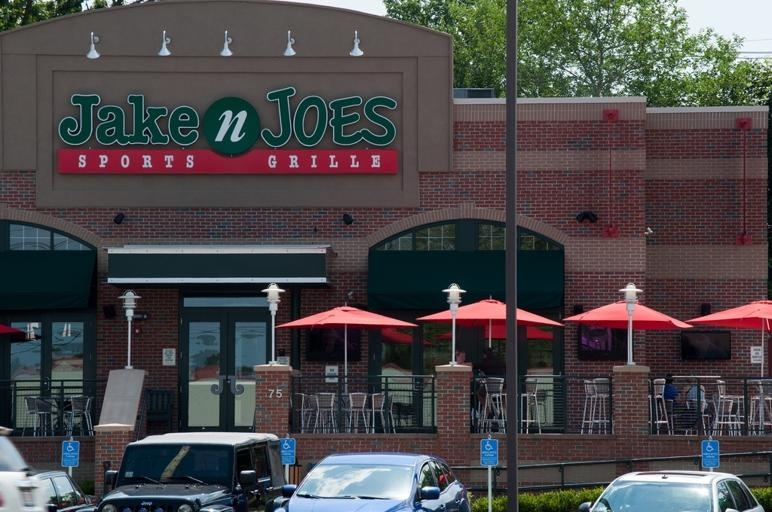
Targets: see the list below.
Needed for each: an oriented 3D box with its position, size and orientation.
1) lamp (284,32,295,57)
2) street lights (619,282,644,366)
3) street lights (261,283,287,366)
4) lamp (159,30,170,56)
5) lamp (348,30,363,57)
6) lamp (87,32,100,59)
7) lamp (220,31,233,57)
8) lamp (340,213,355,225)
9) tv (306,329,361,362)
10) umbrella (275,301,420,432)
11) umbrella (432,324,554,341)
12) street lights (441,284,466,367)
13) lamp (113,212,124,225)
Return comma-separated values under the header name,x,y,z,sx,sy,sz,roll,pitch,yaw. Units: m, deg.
name,x,y,z,sx,sy,sz,roll,pitch,yaw
lamp,-3.325,-7.321,74.335,0.391,0.863,0.139,-1,-13,-3
street lights,7.867,2.218,69.871,0.866,2.643,0.910,-1,-6,6
street lights,-3.825,2.206,70.654,0.868,2.565,0.842,-7,-20,6
lamp,-7.609,-7.324,74.297,0.390,0.846,0.133,0,-13,-8
lamp,-1.039,-7.305,74.315,0.762,1.007,0.707,0,1,-2
lamp,-10.057,-7.253,74.316,0.415,0.949,0.132,-1,-13,-4
lamp,-5.493,-7.329,74.325,0.436,0.886,0.172,0,-13,-9
lamp,-1.311,-1.268,74.132,0.416,0.413,0.285,-2,-13,-1
tv,-1.891,3.101,73.787,1.309,0.809,0.164,0,-8,0
umbrella,-1.088,2.174,71.335,3.389,3.408,3.138,-6,-4,16
umbrella,4.326,2.511,73.915,2.143,0.777,1.893,2,-5,45
street lights,2.197,2.247,70.267,0.898,2.425,0.869,0,-3,-5
lamp,-9.147,-1.290,74.026,0.385,0.404,0.340,0,-13,-9
